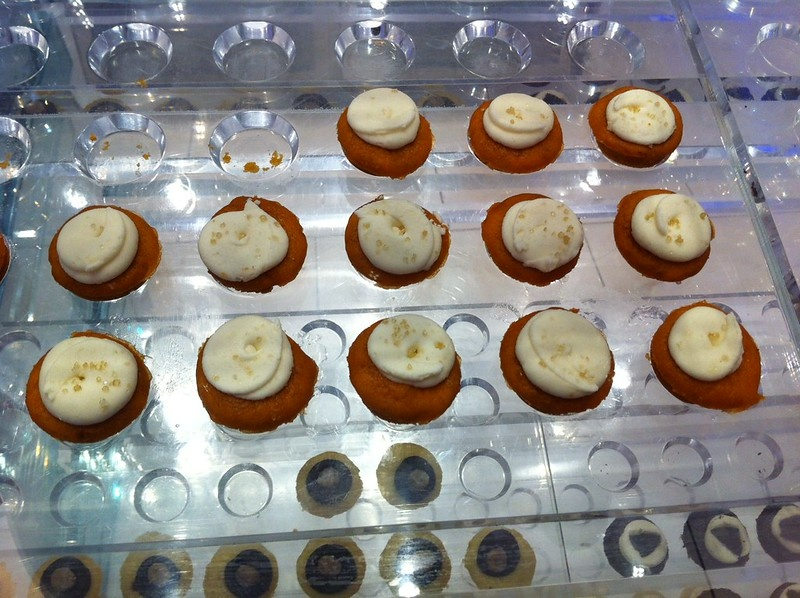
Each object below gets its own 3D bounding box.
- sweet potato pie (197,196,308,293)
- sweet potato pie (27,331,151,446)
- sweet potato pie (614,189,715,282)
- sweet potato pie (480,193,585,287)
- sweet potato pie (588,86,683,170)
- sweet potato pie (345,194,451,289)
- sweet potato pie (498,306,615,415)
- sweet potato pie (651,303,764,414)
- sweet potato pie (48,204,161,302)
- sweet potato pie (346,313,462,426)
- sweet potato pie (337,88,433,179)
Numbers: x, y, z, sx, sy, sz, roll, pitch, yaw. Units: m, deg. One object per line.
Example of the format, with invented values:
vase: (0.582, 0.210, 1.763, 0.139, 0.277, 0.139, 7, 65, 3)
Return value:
sweet potato pie: (-0.733, -0.304, 3.356, 0.643, 0.622, 0.188, -2, 62, -11)
sweet potato pie: (-1.458, 0.404, 3.056, 0.531, 0.361, 0.458, -25, 51, -30)
sweet potato pie: (1.308, -0.315, 3.358, 0.513, 0.160, 0.491, -15, 81, -12)
sweet potato pie: (0.664, -0.327, 3.401, 0.512, 0.363, 0.369, 36, 50, 29)
sweet potato pie: (1.316, -0.967, 3.659, 0.531, 0.340, 0.386, 21, 44, 16)
sweet potato pie: (-0.010, -0.272, 3.325, 0.548, 0.359, 0.329, 6, 42, 0)
sweet potato pie: (0.765, 0.303, 3.174, 0.563, 0.374, 0.386, 14, 43, 9)
sweet potato pie: (1.547, 0.292, 3.232, 0.573, 0.370, 0.406, 24, 45, 19)
sweet potato pie: (-1.457, -0.233, 3.241, 0.523, 0.383, 0.348, -17, 47, -24)
sweet potato pie: (0.005, 0.355, 3.098, 0.561, 0.349, 0.356, 15, 43, 10)
sweet potato pie: (-0.080, -0.869, 3.456, 0.473, 0.252, 0.474, -6, 71, -9)
